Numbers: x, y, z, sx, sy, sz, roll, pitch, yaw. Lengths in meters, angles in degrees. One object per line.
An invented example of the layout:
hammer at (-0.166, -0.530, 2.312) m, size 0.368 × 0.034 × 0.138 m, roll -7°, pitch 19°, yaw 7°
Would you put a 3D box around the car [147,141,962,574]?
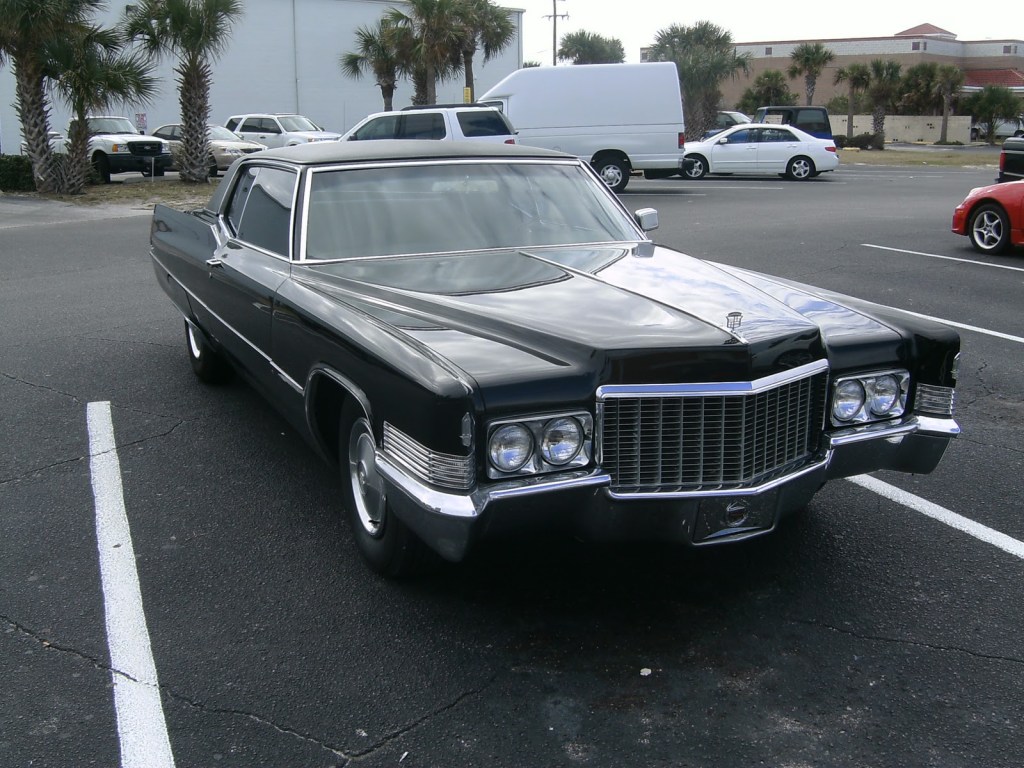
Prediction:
car at (-0.045, -0.316, 4.257) m, size 2.322 × 1.924 × 3.836 m, roll -14°, pitch 20°, yaw -40°
